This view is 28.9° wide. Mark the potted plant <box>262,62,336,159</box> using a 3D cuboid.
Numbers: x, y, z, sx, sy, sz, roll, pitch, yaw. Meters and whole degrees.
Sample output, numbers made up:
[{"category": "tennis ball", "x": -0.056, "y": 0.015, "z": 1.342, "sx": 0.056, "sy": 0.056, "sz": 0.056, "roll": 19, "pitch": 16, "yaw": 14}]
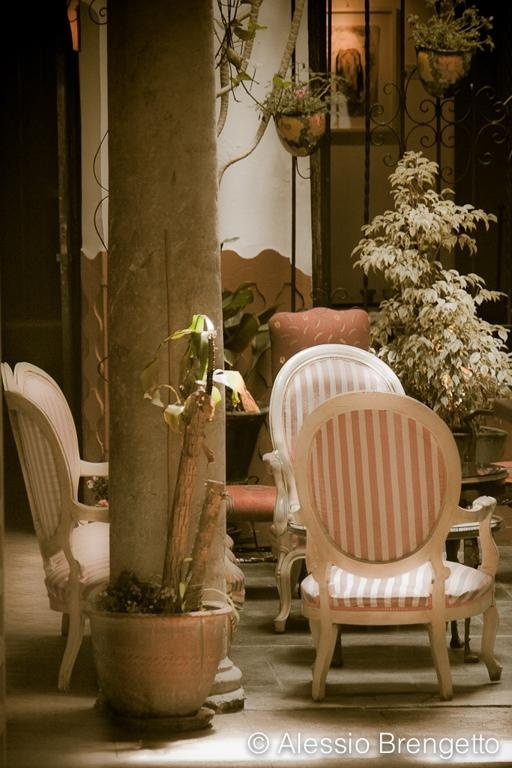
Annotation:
[{"category": "potted plant", "x": 0.191, "y": -1.268, "z": 4.707, "sx": 0.334, "sy": 0.426, "sz": 0.273, "roll": -12, "pitch": 20, "yaw": -35}]

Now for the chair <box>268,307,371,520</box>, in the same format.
[{"category": "chair", "x": 0.317, "y": -0.038, "z": 4.646, "sx": 0.501, "sy": 0.624, "sz": 0.300, "roll": -2, "pitch": -9, "yaw": -12}]

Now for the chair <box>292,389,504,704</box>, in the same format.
[{"category": "chair", "x": 0.389, "y": 0.421, "z": 2.926, "sx": 0.548, "sy": 0.950, "sz": 0.617, "roll": 5, "pitch": 15, "yaw": 32}]

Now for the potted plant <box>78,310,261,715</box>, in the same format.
[{"category": "potted plant", "x": -0.235, "y": 0.362, "z": 2.644, "sx": 0.402, "sy": 1.093, "sz": 0.442, "roll": 0, "pitch": 1, "yaw": -2}]

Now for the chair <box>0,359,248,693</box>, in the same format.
[{"category": "chair", "x": -0.476, "y": 0.398, "z": 3.181, "sx": 0.846, "sy": 1.342, "sz": 0.817, "roll": -1, "pitch": 2, "yaw": -8}]
